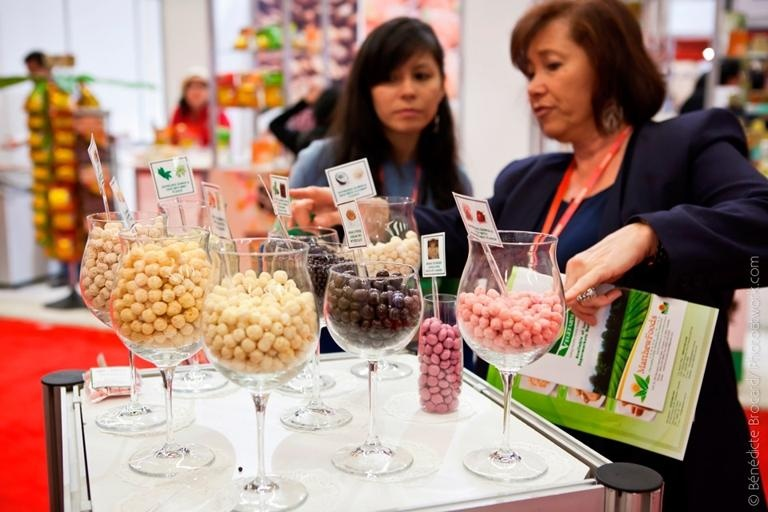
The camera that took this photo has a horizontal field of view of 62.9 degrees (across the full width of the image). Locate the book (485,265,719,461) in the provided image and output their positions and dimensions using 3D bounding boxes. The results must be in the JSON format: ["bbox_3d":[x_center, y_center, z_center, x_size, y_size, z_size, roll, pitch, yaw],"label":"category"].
[{"bbox_3d":[0.623,0.300,1.837,0.558,0.488,0.058,17,-2,17],"label":"book"}]

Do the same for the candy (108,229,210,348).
[{"bbox_3d":[-0.570,0.108,1.822,0.295,0.292,0.305,2,-7,0],"label":"candy"}]

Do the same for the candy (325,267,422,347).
[{"bbox_3d":[-0.031,0.119,1.726,0.230,0.162,0.230,0,2,0],"label":"candy"}]

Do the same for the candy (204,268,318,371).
[{"bbox_3d":[-0.303,0.158,1.536,0.246,0.161,0.258,2,-5,-2],"label":"candy"}]

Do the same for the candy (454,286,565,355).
[{"bbox_3d":[0.329,0.153,1.705,0.196,0.099,0.201,-3,4,-40],"label":"candy"}]
